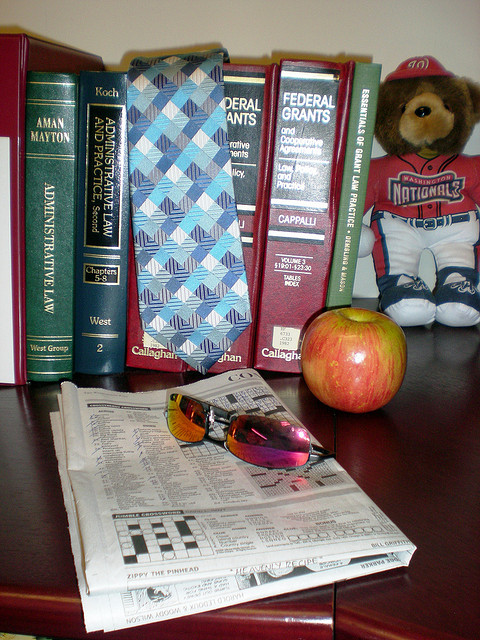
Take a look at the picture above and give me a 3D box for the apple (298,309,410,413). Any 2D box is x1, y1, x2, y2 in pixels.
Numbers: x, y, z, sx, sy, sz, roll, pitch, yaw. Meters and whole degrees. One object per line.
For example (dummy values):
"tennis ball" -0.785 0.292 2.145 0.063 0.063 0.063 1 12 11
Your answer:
"apple" 0.109 0.039 0.508 0.108 0.089 0.103 -3 17 -11

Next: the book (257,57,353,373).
"book" 0.057 -0.103 0.506 0.060 0.225 0.203 6 6 -5

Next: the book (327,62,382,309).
"book" 0.111 -0.124 0.523 0.034 0.233 0.013 4 14 9

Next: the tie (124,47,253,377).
"tie" -0.050 -0.090 0.492 0.146 0.256 0.039 -3 10 -4
